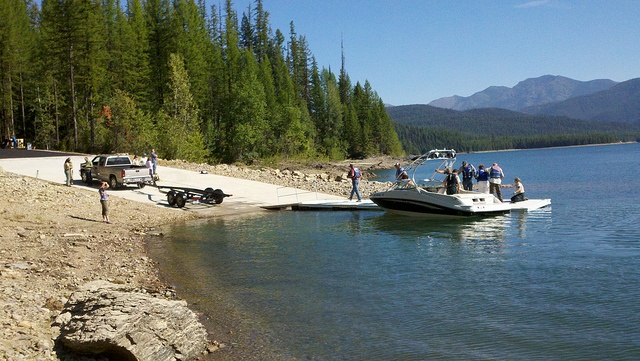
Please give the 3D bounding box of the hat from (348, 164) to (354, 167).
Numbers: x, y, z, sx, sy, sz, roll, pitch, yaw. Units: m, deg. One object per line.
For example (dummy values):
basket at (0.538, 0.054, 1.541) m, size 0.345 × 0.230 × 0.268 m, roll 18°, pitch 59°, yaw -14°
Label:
hat at (2.805, -1.392, 49.733) m, size 0.359 × 0.222 × 0.321 m, roll 0°, pitch -2°, yaw -18°

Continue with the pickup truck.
pickup truck at (-20.459, -0.794, 53.240) m, size 4.603 × 1.417 × 2.031 m, roll 10°, pitch -4°, yaw 0°

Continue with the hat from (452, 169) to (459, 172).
hat at (11.218, -0.867, 46.584) m, size 0.417 × 0.165 × 0.402 m, roll -1°, pitch 3°, yaw 22°
